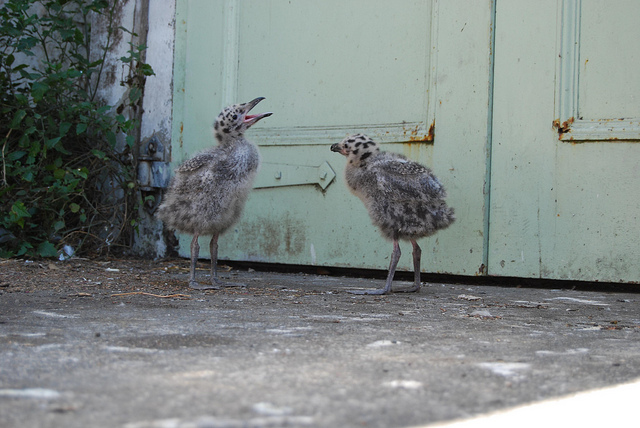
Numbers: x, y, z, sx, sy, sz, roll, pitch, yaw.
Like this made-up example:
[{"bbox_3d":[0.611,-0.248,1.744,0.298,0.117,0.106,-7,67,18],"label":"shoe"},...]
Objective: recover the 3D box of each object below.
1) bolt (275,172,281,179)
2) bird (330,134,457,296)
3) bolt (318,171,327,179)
[{"bbox_3d":[-0.431,-0.403,8.447,0.071,0.072,0.022,7,10,33],"label":"bolt"},{"bbox_3d":[0.628,-0.022,7.121,1.153,1.325,0.672,2,3,21],"label":"bird"},{"bbox_3d":[0.026,-0.394,8.223,0.071,0.065,0.017,9,-6,32],"label":"bolt"}]
